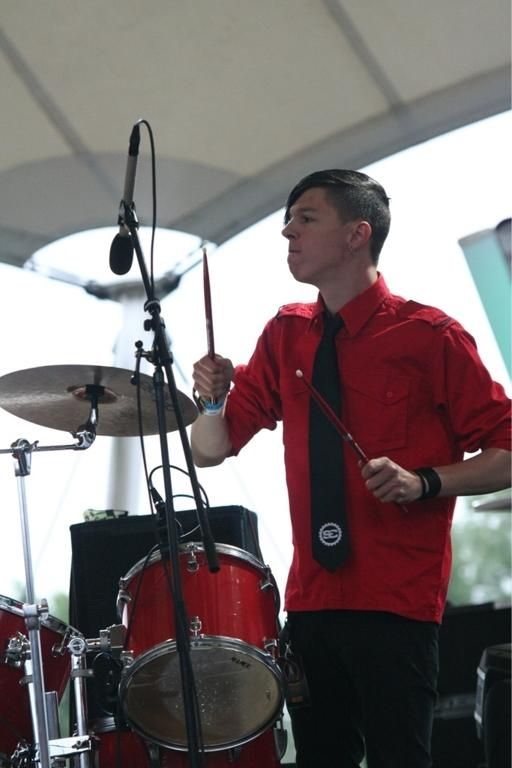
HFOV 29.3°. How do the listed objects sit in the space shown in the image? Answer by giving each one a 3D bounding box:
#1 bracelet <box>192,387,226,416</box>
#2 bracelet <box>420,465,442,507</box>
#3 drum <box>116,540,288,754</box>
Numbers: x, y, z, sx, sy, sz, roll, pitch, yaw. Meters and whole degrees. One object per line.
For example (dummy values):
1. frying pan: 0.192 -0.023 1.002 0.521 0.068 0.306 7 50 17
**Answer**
1. bracelet: -0.121 0.044 2.387 0.056 0.038 0.075 5 -27 0
2. bracelet: 0.378 0.218 2.121 0.050 0.063 0.055 -27 -39 11
3. drum: -0.135 0.558 2.309 0.394 0.307 0.383 -7 -13 -2
